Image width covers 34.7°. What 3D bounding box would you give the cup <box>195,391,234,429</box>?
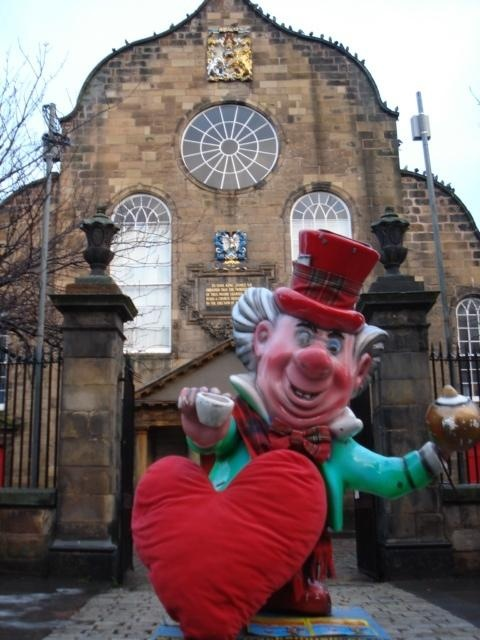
[{"bbox_3d":[-0.142,0.462,4.163,0.204,0.144,0.198,19,4,-1],"label":"cup"}]
